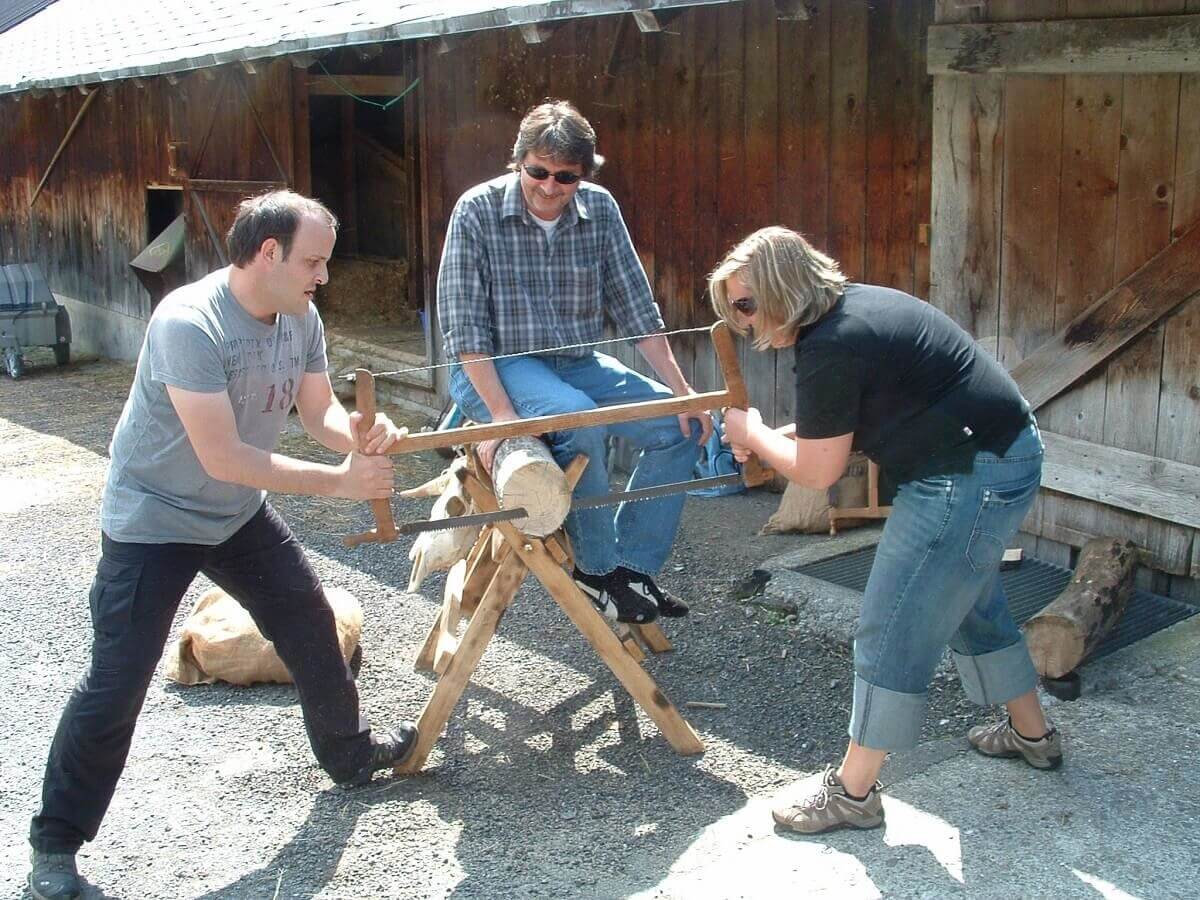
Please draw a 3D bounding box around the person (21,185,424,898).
[{"bbox_3d":[-1.325,0.276,3.557,1.299,2.266,0.620,-8,20,-28],"label":"person"}]

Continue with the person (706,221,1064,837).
[{"bbox_3d":[1.045,0.318,3.619,1.316,2.097,0.638,-2,18,-13],"label":"person"}]

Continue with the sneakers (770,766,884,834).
[{"bbox_3d":[0.806,1.264,3.689,0.395,0.199,0.203,0,11,8],"label":"sneakers"}]

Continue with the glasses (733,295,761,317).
[{"bbox_3d":[0.484,-0.484,3.408,0.102,0.071,0.023,16,23,38],"label":"glasses"}]

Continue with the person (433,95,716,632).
[{"bbox_3d":[-0.123,-0.521,4.839,1.121,2.568,1.137,-2,6,-20],"label":"person"}]

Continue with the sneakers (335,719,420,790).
[{"bbox_3d":[-0.851,1.177,4.132,0.136,0.194,0.423,11,34,29],"label":"sneakers"}]
